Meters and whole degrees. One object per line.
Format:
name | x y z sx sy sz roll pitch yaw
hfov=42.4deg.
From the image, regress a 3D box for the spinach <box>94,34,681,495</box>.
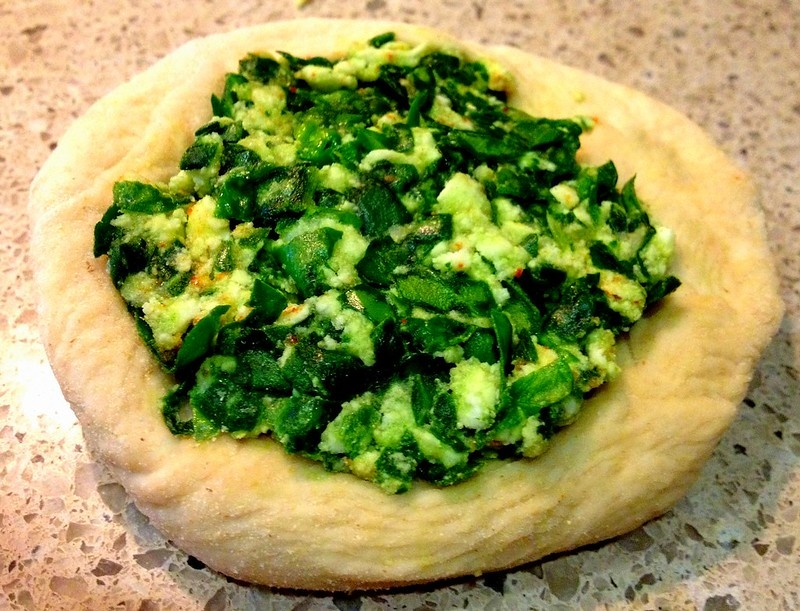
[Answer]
spinach | -0.052 -0.095 2.111 1.019 0.206 1.037 40 71 14
